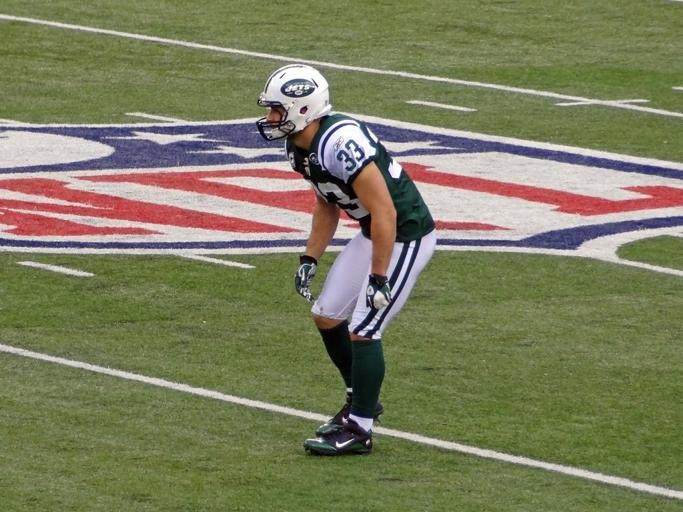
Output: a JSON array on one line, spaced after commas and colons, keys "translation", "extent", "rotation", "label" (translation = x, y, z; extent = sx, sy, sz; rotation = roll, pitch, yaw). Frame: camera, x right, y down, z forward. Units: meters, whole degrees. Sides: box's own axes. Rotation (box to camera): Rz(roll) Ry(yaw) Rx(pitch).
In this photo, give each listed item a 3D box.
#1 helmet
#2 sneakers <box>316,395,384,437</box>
[{"translation": [-0.359, -1.287, 15.031], "extent": [0.803, 0.476, 0.472], "rotation": [-6, 13, 2], "label": "helmet"}, {"translation": [0.019, 1.337, 15.002], "extent": [0.755, 0.233, 0.228], "rotation": [-14, 6, -20], "label": "sneakers"}]
